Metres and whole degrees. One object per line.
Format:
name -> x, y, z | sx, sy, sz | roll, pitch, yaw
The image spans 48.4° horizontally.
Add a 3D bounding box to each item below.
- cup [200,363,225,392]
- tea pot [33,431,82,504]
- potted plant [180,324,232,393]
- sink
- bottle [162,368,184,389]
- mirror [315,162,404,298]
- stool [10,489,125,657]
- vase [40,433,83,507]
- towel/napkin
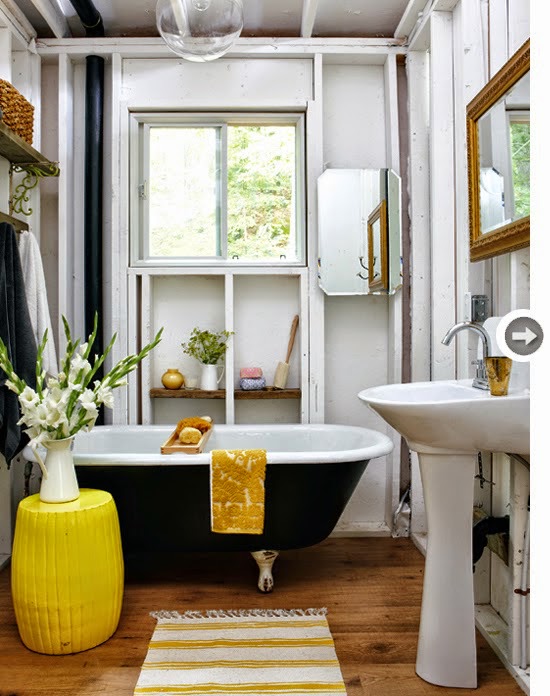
cup -> -0.322, 0.162, 3.158 | 0.093, 0.146, 0.141 | -10, -12, 44
tea pot -> -0.751, 0.407, 2.031 | 0.123, 0.216, 0.183 | -2, -6, 29
potted plant -> -0.313, 0.059, 3.119 | 0.277, 0.364, 0.279 | 0, -2, -1
sink -> 0.448, 0.184, 1.538 | 0.271, 0.112, 0.319 | 0, 2, 4
bottle -> -0.518, 0.157, 3.098 | 0.095, 0.095, 0.103 | 5, -1, 2
mirror -> 0.430, -0.569, 3.075 | 0.413, 0.694, 0.047 | 1, -13, 7
stool -> -0.631, 0.730, 2.082 | 0.350, 0.461, 0.435 | 0, 1, -2
vase -> -0.736, 0.414, 2.059 | 0.131, 0.212, 0.151 | -4, -5, 32
towel/napkin -> -0.131, 0.519, 2.303 | 0.194, 0.304, 0.073 | 0, 9, 1
